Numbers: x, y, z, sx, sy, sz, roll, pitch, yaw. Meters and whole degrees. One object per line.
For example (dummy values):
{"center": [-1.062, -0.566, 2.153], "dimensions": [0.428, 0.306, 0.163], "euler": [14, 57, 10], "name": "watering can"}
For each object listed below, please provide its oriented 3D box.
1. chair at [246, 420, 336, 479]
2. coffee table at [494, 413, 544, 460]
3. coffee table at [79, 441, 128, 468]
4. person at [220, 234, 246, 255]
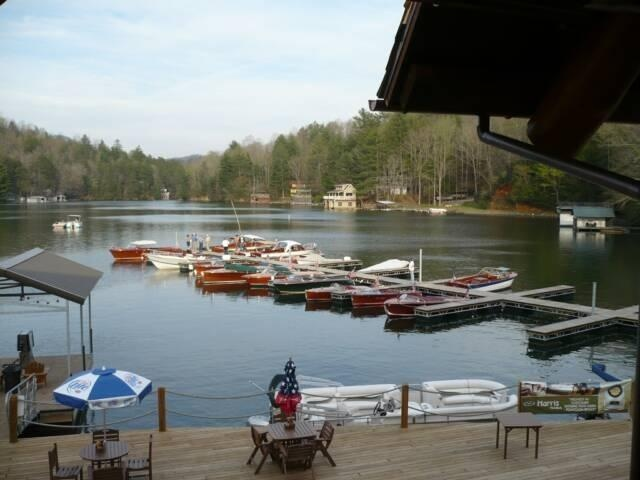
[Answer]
{"center": [-0.696, 4.489, 16.377], "dimensions": [1.006, 0.787, 1.660], "euler": [0, -3, -21], "name": "chair"}
{"center": [4.349, 4.408, 16.753], "dimensions": [1.039, 0.741, 1.079], "euler": [2, 2, 22], "name": "coffee table"}
{"center": [-4.427, 4.448, 15.520], "dimensions": [0.782, 0.184, 0.747], "euler": [2, 10, -5], "name": "coffee table"}
{"center": [-6.344, 0.347, 55.392], "dimensions": [0.989, 1.227, 3.555], "euler": [1, 7, -3], "name": "person"}
